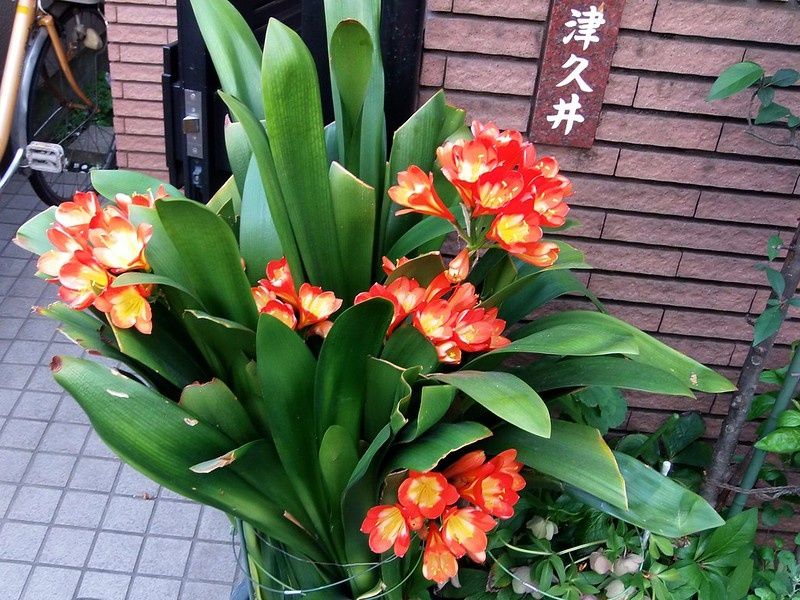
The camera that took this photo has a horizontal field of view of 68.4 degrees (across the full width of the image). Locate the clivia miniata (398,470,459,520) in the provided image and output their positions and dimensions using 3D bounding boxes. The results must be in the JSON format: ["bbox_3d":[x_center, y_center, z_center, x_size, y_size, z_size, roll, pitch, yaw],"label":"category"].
[{"bbox_3d":[0.045,0.304,0.932,0.087,0.079,0.043,10,2,3],"label":"clivia miniata"}]

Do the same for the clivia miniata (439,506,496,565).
[{"bbox_3d":[0.107,0.378,0.974,0.091,0.085,0.046,-31,1,-9],"label":"clivia miniata"}]

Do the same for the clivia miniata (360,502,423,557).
[{"bbox_3d":[-0.019,0.377,0.952,0.070,0.128,0.066,32,45,30],"label":"clivia miniata"}]

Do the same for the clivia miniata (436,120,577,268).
[{"bbox_3d":[0.175,-0.179,1.059,0.251,0.214,0.276,16,38,14],"label":"clivia miniata"}]

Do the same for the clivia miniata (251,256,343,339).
[{"bbox_3d":[-0.183,0.018,1.018,0.145,0.069,0.139,25,36,-3],"label":"clivia miniata"}]

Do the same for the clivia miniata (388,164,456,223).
[{"bbox_3d":[0.044,-0.200,1.049,0.071,0.062,0.130,47,14,24],"label":"clivia miniata"}]

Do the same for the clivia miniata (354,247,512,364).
[{"bbox_3d":[0.047,0.045,1.003,0.219,0.119,0.216,36,20,-4],"label":"clivia miniata"}]

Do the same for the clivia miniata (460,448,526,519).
[{"bbox_3d":[0.151,0.312,0.961,0.102,0.059,0.152,20,20,-4],"label":"clivia miniata"}]
